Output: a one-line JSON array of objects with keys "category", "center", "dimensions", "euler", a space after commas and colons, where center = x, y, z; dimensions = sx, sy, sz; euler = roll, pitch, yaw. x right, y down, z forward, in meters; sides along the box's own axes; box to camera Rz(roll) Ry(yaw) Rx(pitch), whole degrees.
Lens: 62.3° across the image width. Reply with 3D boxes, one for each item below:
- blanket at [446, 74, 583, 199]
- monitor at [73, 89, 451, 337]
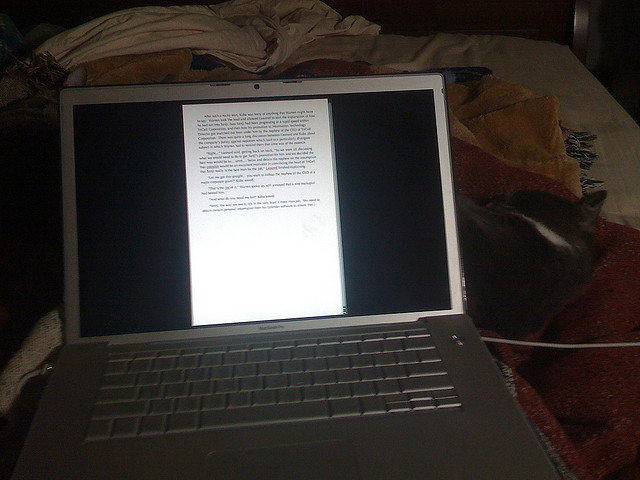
[{"category": "blanket", "center": [0.544, -0.280, 1.518], "dimensions": [0.431, 0.299, 0.120], "euler": [29, -15, 12]}, {"category": "monitor", "center": [-0.156, -0.039, 1.168], "dimensions": [0.718, 0.362, 0.013], "euler": [-3, 0, -2]}]
